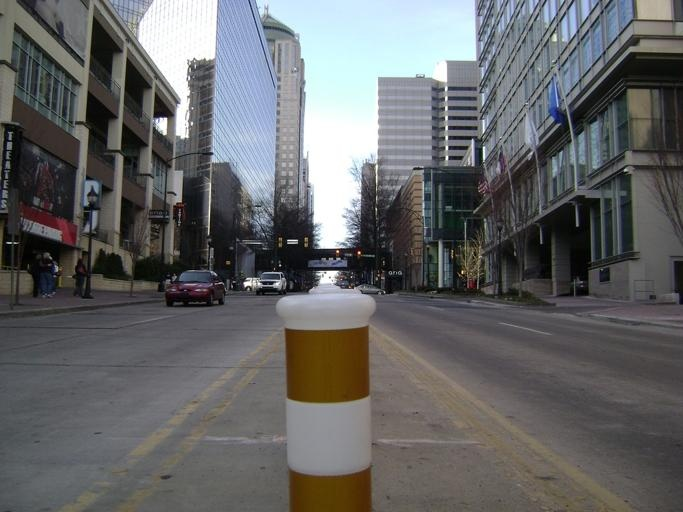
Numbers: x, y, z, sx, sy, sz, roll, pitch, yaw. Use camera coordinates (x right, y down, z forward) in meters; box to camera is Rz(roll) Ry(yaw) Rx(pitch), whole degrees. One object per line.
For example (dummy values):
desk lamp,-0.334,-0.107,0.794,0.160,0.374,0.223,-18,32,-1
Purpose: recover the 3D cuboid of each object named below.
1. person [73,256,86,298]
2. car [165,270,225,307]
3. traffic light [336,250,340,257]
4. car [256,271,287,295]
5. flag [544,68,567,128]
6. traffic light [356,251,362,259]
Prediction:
person,-11.869,0.918,27.908,0.478,1.867,2.628,1,-5,-24
car,-6.203,1.313,25.951,1.703,1.575,2.815,-1,-5,4
traffic light,-0.372,-0.378,64.682,0.293,0.712,0.668,0,-5,-9
car,-5.355,2.057,47.113,1.995,1.691,2.951,-1,-5,-2
flag,13.025,-9.434,37.171,0.857,2.631,4.059,-2,-5,21
traffic light,1.709,-0.236,59.483,0.442,1.100,0.502,-3,5,-16
